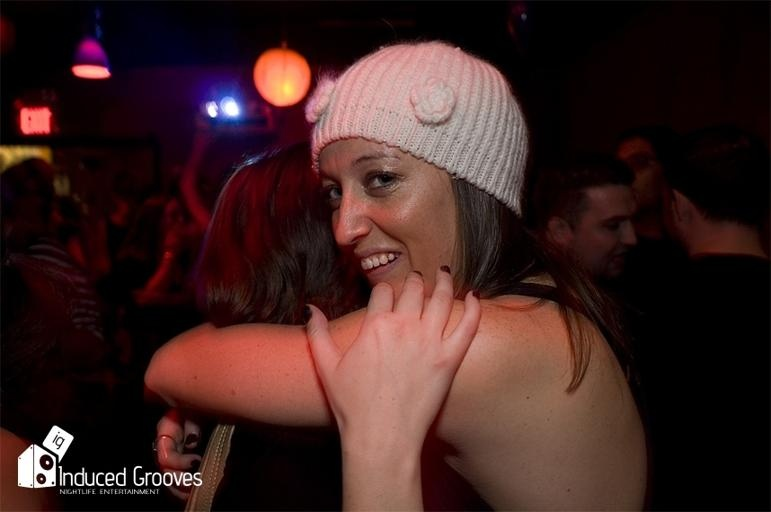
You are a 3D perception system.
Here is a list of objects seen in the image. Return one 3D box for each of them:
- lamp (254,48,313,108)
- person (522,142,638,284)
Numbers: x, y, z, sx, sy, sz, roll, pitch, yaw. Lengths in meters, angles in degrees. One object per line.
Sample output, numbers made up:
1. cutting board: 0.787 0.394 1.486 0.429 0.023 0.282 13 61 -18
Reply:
1. lamp: -1.290 -2.315 8.452 0.599 0.728 0.624 -4 19 2
2. person: 1.795 -0.395 6.076 1.089 1.436 0.980 -5 5 42
